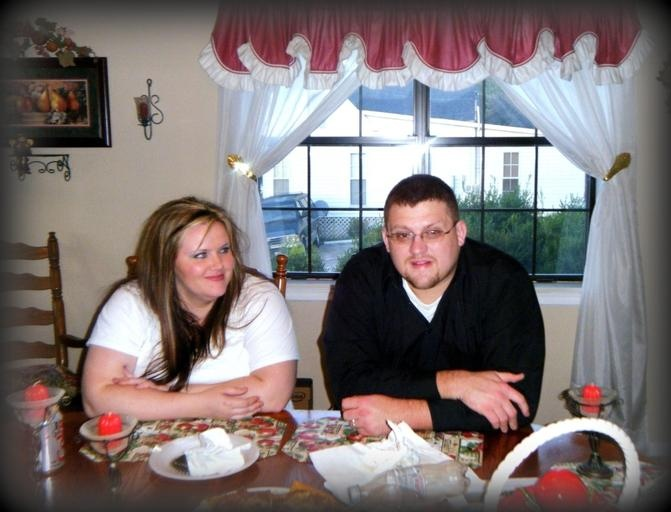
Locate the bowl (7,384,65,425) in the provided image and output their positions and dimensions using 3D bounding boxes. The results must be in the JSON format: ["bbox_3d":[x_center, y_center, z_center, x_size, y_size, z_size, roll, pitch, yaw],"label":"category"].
[{"bbox_3d":[-1.005,0.483,1.934,0.132,0.090,0.135,7,6,-1],"label":"bowl"}]

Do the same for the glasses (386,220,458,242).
[{"bbox_3d":[0.361,-0.096,2.411,0.276,0.090,0.089,1,4,12],"label":"glasses"}]

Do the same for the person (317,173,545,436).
[{"bbox_3d":[0.411,0.153,2.391,0.908,0.985,0.726,0,4,-3],"label":"person"}]

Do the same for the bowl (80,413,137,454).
[{"bbox_3d":[-0.726,0.571,1.848,0.148,0.084,0.151,6,15,-2],"label":"bowl"}]

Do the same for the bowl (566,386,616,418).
[{"bbox_3d":[0.891,0.482,2.012,0.134,0.090,0.139,0,-2,0],"label":"bowl"}]

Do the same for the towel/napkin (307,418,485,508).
[{"bbox_3d":[0.156,0.677,1.855,0.274,0.088,0.278,-6,20,-22],"label":"towel/napkin"}]

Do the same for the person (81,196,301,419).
[{"bbox_3d":[-0.601,0.132,2.545,0.913,0.903,0.879,-1,8,-19],"label":"person"}]

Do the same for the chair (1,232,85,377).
[{"bbox_3d":[-1.697,0.302,3.365,0.398,0.883,1.027,-2,5,-25],"label":"chair"}]

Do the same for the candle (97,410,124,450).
[{"bbox_3d":[-0.715,0.545,1.819,0.067,0.076,0.065,5,3,-28],"label":"candle"}]

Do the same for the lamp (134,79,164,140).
[{"bbox_3d":[-1.209,-0.966,3.755,0.179,0.407,0.130,-1,5,-17],"label":"lamp"}]
